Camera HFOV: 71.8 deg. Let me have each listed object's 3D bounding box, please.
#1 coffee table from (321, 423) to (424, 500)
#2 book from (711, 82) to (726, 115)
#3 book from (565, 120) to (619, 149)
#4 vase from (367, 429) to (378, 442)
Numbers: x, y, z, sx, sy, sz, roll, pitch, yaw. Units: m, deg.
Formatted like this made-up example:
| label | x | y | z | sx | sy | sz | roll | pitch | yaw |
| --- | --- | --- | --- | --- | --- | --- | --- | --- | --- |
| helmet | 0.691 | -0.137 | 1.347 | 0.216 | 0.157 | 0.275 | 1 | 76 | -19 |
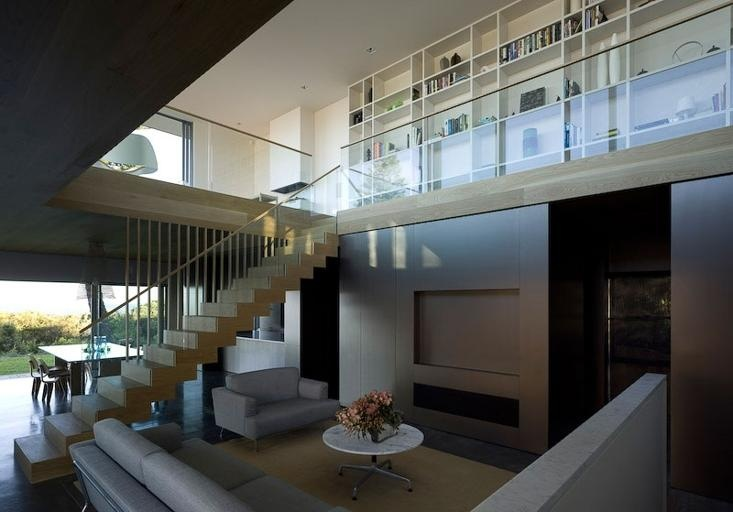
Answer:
| label | x | y | z | sx | sy | sz | roll | pitch | yaw |
| --- | --- | --- | --- | --- | --- | --- | --- | --- | --- |
| coffee table | 0.068 | 2.374 | 5.945 | 1.163 | 0.594 | 1.181 | -14 | -9 | 42 |
| book | 3.843 | -1.724 | 5.509 | 0.131 | 0.307 | 0.078 | 3 | 7 | 32 |
| book | 2.775 | -1.488 | 6.266 | 0.638 | 0.370 | 0.109 | 3 | 7 | 34 |
| vase | 0.077 | 2.014 | 5.728 | 0.123 | 0.139 | 0.128 | 1 | -1 | -33 |
